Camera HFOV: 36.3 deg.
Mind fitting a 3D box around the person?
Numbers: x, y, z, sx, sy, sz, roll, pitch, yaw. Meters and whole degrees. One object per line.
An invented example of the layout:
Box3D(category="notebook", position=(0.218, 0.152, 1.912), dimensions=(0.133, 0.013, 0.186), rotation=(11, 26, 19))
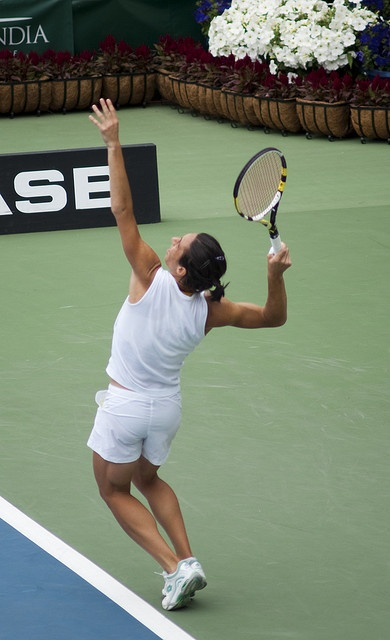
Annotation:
Box3D(category="person", position=(-0.025, 0.213, 2.364), dimensions=(0.702, 2.003, 0.438), rotation=(-13, 17, -42))
